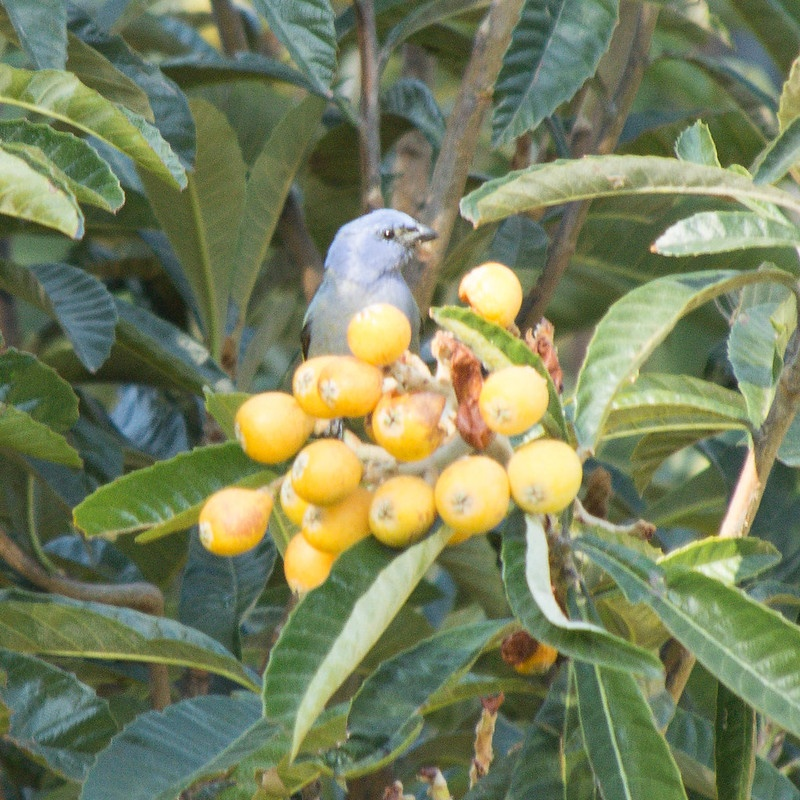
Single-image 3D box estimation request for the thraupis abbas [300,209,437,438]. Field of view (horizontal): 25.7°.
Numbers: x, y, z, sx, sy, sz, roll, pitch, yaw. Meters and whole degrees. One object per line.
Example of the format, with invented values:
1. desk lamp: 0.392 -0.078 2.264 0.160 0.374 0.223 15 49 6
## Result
1. thraupis abbas: -0.116 -0.225 5.123 0.404 0.818 0.359 7 40 4
